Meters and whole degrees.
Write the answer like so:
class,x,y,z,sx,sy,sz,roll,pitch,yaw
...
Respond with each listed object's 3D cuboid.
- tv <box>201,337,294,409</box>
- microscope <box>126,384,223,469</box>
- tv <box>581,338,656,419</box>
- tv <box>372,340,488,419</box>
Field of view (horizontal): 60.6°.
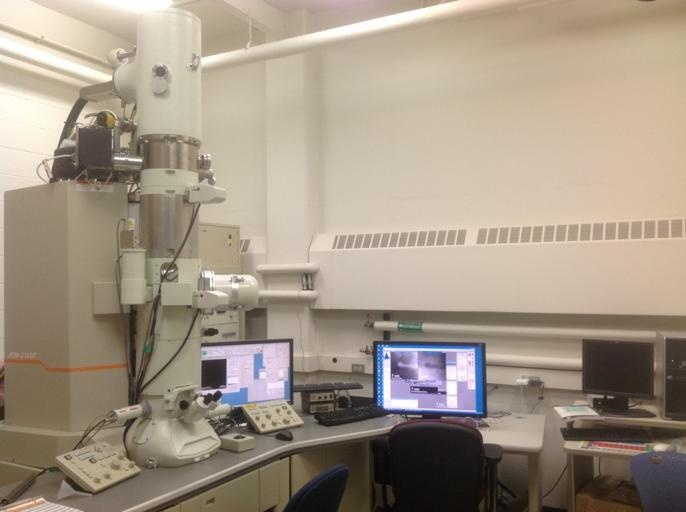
class,x,y,z,sx,sy,sz,roll,pitch,yaw
tv,-0.595,0.732,3.709,0.597,0.421,0.049,4,-5,-24
microscope,-0.893,0.877,3.178,0.570,0.393,0.485,4,4,28
tv,1.733,0.739,3.712,0.140,0.488,0.377,3,1,-45
tv,0.570,0.797,3.796,0.636,0.519,0.279,4,2,16
